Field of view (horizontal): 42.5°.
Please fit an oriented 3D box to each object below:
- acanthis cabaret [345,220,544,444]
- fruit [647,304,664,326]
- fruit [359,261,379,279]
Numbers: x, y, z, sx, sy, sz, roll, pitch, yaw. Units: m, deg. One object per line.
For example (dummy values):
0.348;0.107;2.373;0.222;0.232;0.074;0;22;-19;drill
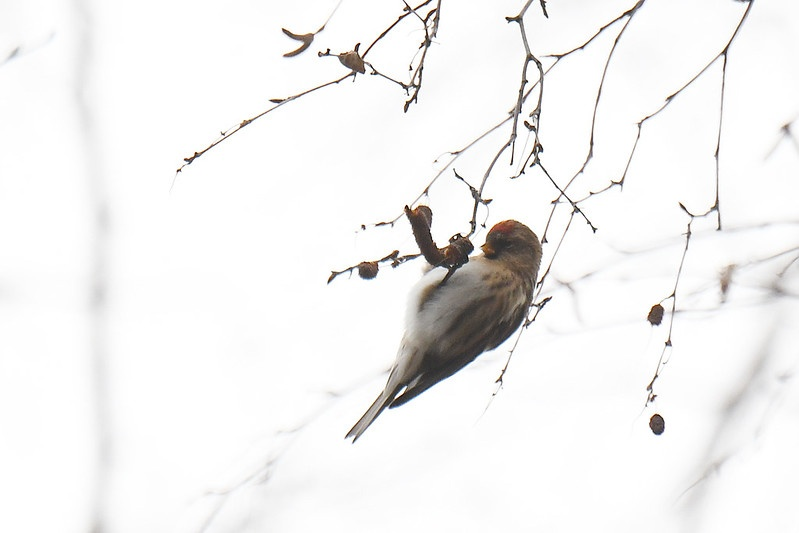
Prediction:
0.064;0.187;1.907;0.150;0.237;0.507;41;-64;-5;acanthis cabaret
0.491;0.089;1.963;0.031;0.010;0.041;-2;-63;-17;fruit
-0.054;0.005;1.786;0.029;0.009;0.028;-2;-69;-21;fruit
